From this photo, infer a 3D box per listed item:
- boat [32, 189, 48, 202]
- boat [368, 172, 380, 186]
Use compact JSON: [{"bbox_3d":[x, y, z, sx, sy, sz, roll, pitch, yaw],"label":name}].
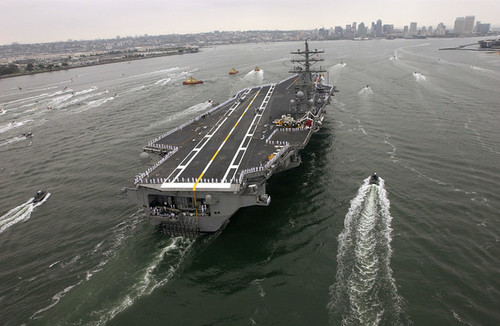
[{"bbox_3d":[-35.040,5.398,59.775,1.577,1.203,2.176,13,37,3],"label":"boat"},{"bbox_3d":[20.495,2.489,59.168,1.703,1.214,2.814,5,25,17],"label":"boat"}]
